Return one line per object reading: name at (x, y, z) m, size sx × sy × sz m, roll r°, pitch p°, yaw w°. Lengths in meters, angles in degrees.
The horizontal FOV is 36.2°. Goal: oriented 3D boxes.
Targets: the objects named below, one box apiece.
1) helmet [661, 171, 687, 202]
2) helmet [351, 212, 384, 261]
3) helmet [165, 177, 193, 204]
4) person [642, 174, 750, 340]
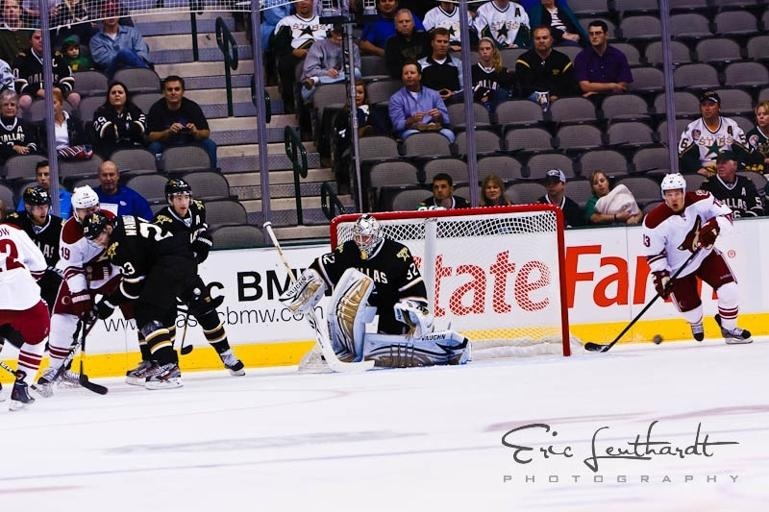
helmet at (2.751, -0.642, 11.181) m, size 0.215 × 0.258 × 0.261 m, roll -1°, pitch 12°, yaw 13°
helmet at (-0.133, -0.173, 10.670) m, size 0.275 × 0.397 × 0.181 m, roll -3°, pitch 12°, yaw -1°
helmet at (-1.854, -0.617, 10.749) m, size 0.233 × 0.267 × 0.282 m, roll -3°, pitch -13°, yaw -28°
person at (2.922, 0.074, 11.529) m, size 0.908 × 1.670 × 1.314 m, roll 2°, pitch 2°, yaw 8°
